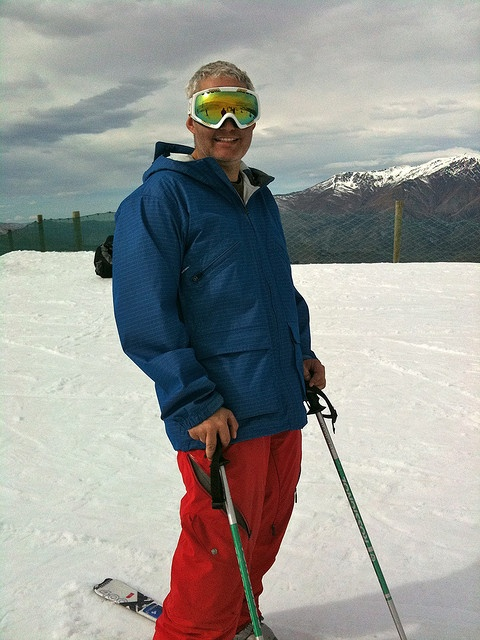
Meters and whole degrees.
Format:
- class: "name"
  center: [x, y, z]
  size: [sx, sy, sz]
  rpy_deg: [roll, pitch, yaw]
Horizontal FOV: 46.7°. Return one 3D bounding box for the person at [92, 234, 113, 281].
- class: "person"
  center: [-2.261, -1.055, 9.278]
  size: [0.367, 0.708, 1.402]
  rpy_deg: [-7, 9, -13]
